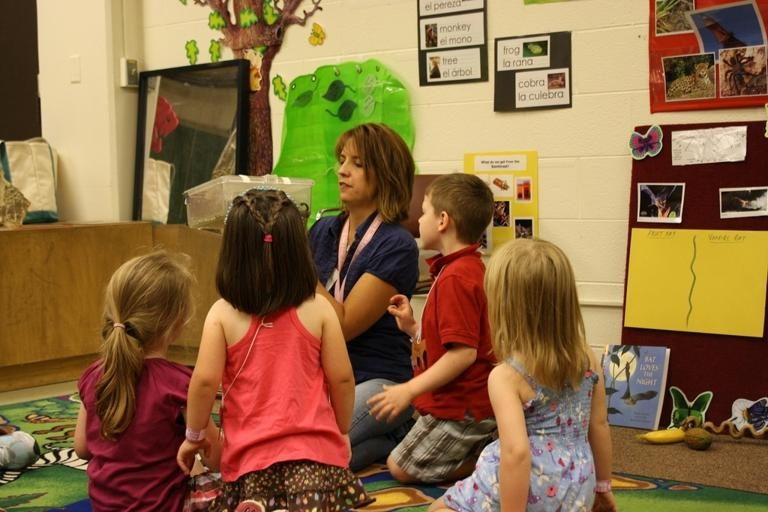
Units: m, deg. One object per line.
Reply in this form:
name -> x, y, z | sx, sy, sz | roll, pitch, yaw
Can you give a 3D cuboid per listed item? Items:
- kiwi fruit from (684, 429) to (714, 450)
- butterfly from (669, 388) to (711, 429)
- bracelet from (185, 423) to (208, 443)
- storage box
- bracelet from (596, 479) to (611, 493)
kiwi fruit -> 1.412, 0.821, 2.651 | 0.081, 0.089, 0.104 | -10, 3, -42
butterfly -> 1.501, 0.742, 2.875 | 0.173, 0.188, 0.009 | 7, 3, 24
bracelet -> -0.599, 0.561, 1.868 | 0.045, 0.038, 0.056 | 5, 1, 1
storage box -> -0.688, -0.279, 2.969 | 0.434, 0.164, 0.435 | 3, -5, -37
bracelet -> 0.703, 0.728, 1.890 | 0.041, 0.030, 0.042 | 1, -2, -15
